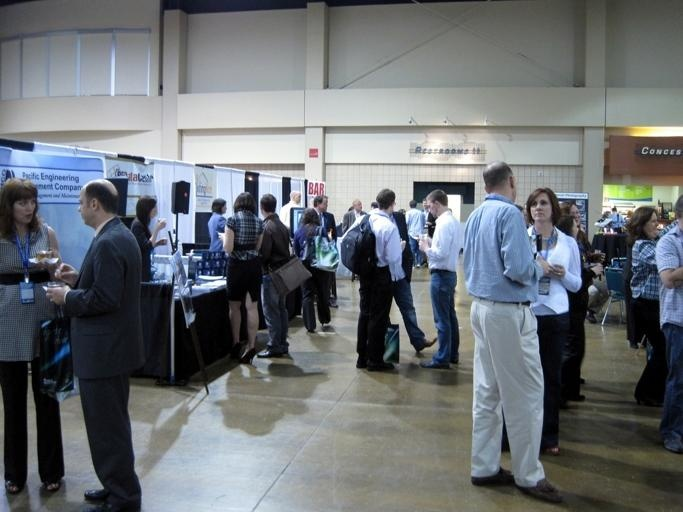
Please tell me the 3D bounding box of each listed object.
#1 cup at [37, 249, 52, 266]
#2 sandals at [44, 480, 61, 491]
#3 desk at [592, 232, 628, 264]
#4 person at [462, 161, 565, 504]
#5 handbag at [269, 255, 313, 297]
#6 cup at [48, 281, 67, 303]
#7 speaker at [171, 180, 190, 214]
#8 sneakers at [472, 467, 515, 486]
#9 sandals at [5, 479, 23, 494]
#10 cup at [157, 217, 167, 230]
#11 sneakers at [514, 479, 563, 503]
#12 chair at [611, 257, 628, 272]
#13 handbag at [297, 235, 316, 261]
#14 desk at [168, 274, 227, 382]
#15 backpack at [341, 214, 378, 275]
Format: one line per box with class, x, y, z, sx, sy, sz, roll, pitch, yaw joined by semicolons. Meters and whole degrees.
cup;-1.848;0.015;3.583;0.076;0.082;0.081;4;3;0
sandals;-1.968;1.567;3.871;0.044;0.056;0.131;-21;-40;12
desk;4.736;-0.129;10.051;0.565;0.617;0.601;0;-1;8
person;1.148;0.484;3.906;0.652;2.211;0.428;3;8;16
handbag;-0.562;0.219;6.341;0.432;0.342;0.156;-35;3;-23
cup;-1.753;0.226;3.563;0.112;0.128;0.127;3;0;-11
speaker;-1.933;-0.694;6.857;0.213;0.390;0.333;-2;9;-18
sneakers;1.069;1.561;4.040;0.307;0.136;0.115;-2;1;-5
sandals;-2.193;1.547;3.837;0.137;0.055;0.059;6;3;31
cup;-1.855;-0.335;5.878;0.092;0.114;0.042;3;3;-42
sneakers;1.333;1.557;3.875;0.293;0.138;0.114;0;3;30
chair;4.176;0.134;8.606;0.179;0.178;0.308;2;-7;19
handbag;-0.449;-0.098;7.484;0.157;0.297;0.280;-6;9;-39
desk;-1.476;0.772;5.820;0.295;0.562;0.967;-2;6;4
backpack;0.187;-0.110;6.006;0.301;0.596;0.414;-3;15;-21
